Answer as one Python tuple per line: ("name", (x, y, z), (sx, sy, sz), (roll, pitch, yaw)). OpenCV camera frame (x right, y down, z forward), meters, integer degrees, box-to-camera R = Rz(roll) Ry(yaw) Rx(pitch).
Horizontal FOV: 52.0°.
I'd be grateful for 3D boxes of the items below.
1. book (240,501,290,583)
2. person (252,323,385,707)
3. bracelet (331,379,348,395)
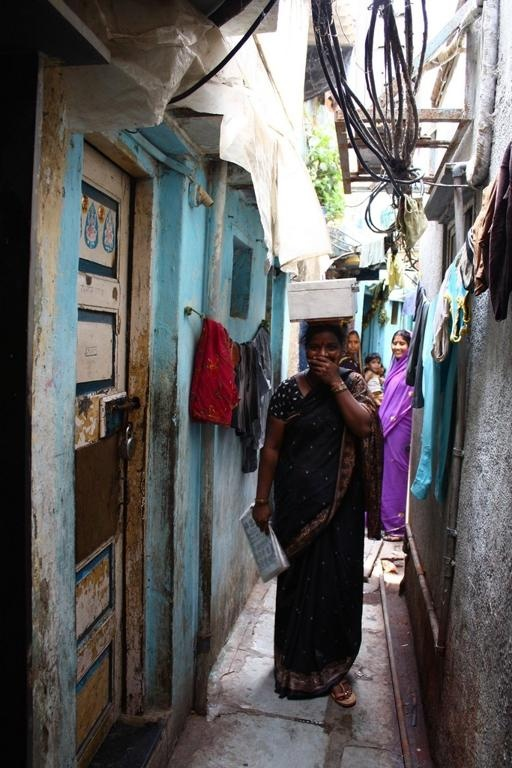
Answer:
("book", (0.040, 0.824, 2.710), (0.240, 0.376, 0.224), (0, 0, -2))
("person", (0.313, 0.630, 2.735), (0.661, 1.871, 0.340), (0, 0, 11))
("bracelet", (0.418, 0.019, 2.653), (0.084, 0.069, 0.049), (1, 0, -26))
